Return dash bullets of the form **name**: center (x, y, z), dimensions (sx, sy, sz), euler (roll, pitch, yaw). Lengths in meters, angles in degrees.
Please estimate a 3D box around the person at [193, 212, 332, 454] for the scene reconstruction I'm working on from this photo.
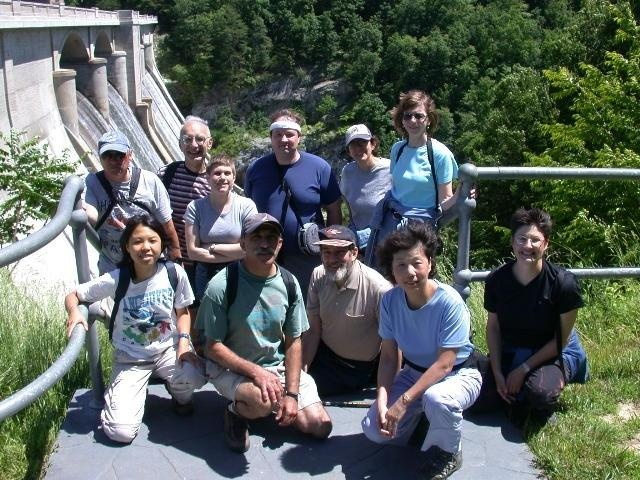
- **person**: center (-0.448, 0.599, 3.931), dimensions (0.783, 1.466, 0.553), euler (-3, 13, -14)

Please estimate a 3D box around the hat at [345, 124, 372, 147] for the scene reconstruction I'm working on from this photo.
- **hat**: center (0.372, -0.996, 5.553), dimensions (0.255, 0.195, 0.295), euler (2, 14, 6)

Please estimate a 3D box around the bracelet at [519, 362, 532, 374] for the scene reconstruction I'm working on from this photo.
- **bracelet**: center (1.472, 0.918, 4.153), dimensions (0.084, 0.057, 0.044), euler (-6, 15, -26)

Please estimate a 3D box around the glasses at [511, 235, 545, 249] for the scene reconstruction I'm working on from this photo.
- **glasses**: center (1.480, 0.016, 4.109), dimensions (0.207, 0.076, 0.082), euler (6, 14, 22)

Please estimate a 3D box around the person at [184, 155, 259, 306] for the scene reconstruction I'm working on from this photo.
- **person**: center (-0.908, 0.262, 5.227), dimensions (0.634, 1.904, 0.490), euler (-1, 21, -11)

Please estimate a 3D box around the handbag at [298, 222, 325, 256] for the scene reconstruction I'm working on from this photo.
- **handbag**: center (-0.094, -0.004, 5.201), dimensions (0.164, 0.315, 0.229), euler (-1, -3, 23)

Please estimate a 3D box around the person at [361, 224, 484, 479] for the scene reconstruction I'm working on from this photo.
- **person**: center (0.687, 0.687, 3.794), dimensions (0.726, 1.480, 0.649), euler (5, 13, 19)

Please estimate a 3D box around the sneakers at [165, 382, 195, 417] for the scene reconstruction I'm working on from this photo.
- **sneakers**: center (-1.032, 1.100, 4.162), dimensions (0.110, 0.142, 0.309), euler (-17, 35, -35)

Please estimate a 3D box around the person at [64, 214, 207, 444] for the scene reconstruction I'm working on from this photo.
- **person**: center (-1.319, 0.620, 4.077), dimensions (0.929, 1.499, 0.814), euler (-5, 16, -30)

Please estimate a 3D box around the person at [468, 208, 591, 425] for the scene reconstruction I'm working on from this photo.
- **person**: center (1.480, 0.571, 4.264), dimensions (1.041, 1.583, 0.721), euler (-14, 14, -43)

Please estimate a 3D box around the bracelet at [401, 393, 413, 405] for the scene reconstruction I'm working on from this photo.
- **bracelet**: center (0.554, 1.025, 3.731), dimensions (0.046, 0.017, 0.072), euler (-12, 60, -6)

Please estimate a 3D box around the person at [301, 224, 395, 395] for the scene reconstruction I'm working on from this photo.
- **person**: center (0.127, 0.548, 4.508), dimensions (0.918, 1.248, 0.852), euler (1, 14, -7)

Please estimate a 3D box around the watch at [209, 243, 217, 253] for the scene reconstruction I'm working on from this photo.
- **watch**: center (-0.917, 0.068, 4.923), dimensions (0.042, 0.069, 0.057), euler (8, 5, 9)

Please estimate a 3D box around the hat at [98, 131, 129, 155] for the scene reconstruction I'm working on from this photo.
- **hat**: center (-1.737, -0.808, 4.862), dimensions (0.246, 0.191, 0.278), euler (-3, 14, -15)

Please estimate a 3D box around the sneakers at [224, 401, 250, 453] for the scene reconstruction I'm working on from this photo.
- **sneakers**: center (-0.560, 1.238, 3.856), dimensions (0.165, 0.265, 0.221), euler (-2, 13, -10)
